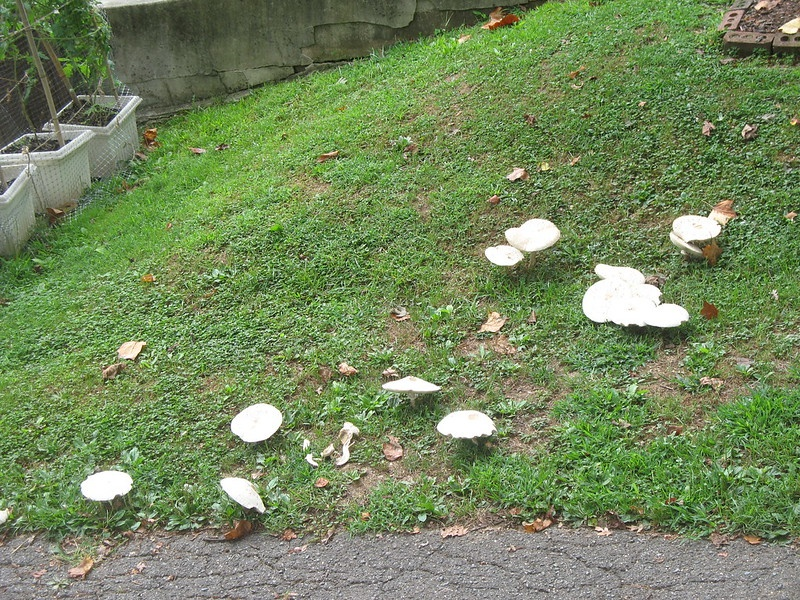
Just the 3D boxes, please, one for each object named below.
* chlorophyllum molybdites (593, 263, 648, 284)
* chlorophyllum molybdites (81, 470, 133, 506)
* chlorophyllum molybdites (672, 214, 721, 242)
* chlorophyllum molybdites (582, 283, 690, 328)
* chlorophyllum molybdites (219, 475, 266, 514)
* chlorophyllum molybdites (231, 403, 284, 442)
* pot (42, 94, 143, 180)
[{"bbox_3d":[1.968,-0.222,8.761,0.451,0.163,0.230,7,32,32],"label":"chlorophyllum molybdites"},{"bbox_3d":[-2.412,1.553,8.007,0.392,0.207,0.281,-22,28,-19],"label":"chlorophyllum molybdites"},{"bbox_3d":[2.659,-0.627,8.767,0.399,0.172,0.284,-5,27,13],"label":"chlorophyllum molybdites"},{"bbox_3d":[1.973,0.048,8.474,0.545,0.138,0.494,-12,41,1],"label":"chlorophyllum molybdites"},{"bbox_3d":[-1.265,1.562,7.834,0.373,0.270,0.220,9,34,35],"label":"chlorophyllum molybdites"},{"bbox_3d":[-1.221,1.046,8.231,0.423,0.171,0.326,-18,27,-13],"label":"chlorophyllum molybdites"},{"bbox_3d":[-3.920,-1.924,12.539,1.242,0.994,1.047,8,29,11],"label":"pot"}]
